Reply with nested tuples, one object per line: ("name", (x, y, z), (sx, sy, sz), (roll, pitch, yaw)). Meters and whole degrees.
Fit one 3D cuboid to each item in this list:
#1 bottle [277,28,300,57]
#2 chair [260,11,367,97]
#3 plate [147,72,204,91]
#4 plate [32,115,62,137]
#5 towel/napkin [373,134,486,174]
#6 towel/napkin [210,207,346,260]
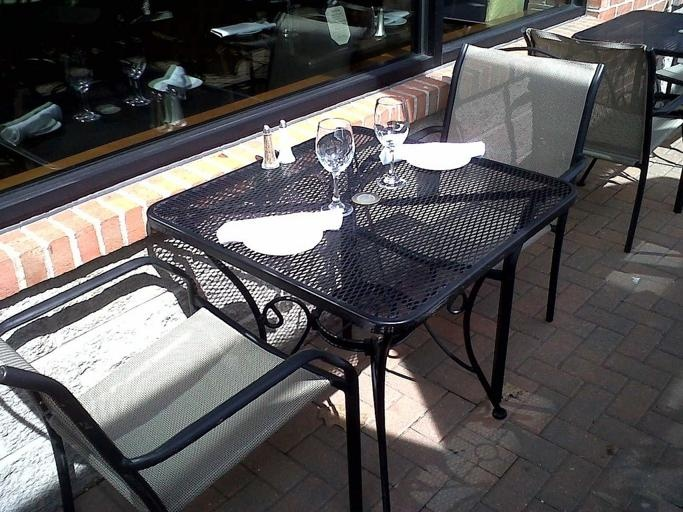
("bottle", (-0.281, -1.141, 2.718), (0.036, 0.108, 0.132), (14, 28, 42))
("chair", (-0.175, -1.102, 2.802), (0.481, 0.488, 0.377), (-23, 67, -18))
("plate", (-0.757, -0.782, 2.354), (0.240, 0.062, 0.090), (-11, 39, -44))
("plate", (-1.160, -0.520, 2.039), (0.102, 0.026, 0.065), (-18, 18, -15))
("towel/napkin", (0.360, -0.424, 2.155), (0.399, 0.070, 0.183), (-2, 34, 3))
("towel/napkin", (-0.213, -0.079, 1.712), (0.385, 0.073, 0.162), (-11, 43, -2))
